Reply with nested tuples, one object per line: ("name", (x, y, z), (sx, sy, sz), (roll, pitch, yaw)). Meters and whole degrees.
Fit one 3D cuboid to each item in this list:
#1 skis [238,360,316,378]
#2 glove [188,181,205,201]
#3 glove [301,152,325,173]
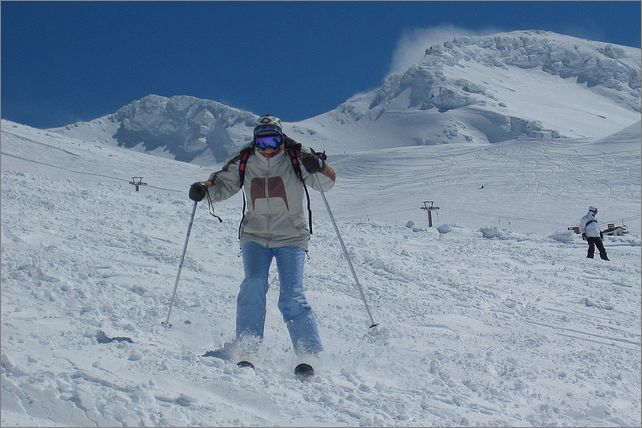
("skis", (-0.836, 3.037, 13.597), (1.406, 0.191, 0.144), (8, -5, 0))
("glove", (-2.472, -0.462, 14.160), (0.289, 0.387, 0.383), (7, 6, -2))
("glove", (-0.189, -1.020, 14.059), (0.455, 0.328, 0.165), (50, -16, 10))
